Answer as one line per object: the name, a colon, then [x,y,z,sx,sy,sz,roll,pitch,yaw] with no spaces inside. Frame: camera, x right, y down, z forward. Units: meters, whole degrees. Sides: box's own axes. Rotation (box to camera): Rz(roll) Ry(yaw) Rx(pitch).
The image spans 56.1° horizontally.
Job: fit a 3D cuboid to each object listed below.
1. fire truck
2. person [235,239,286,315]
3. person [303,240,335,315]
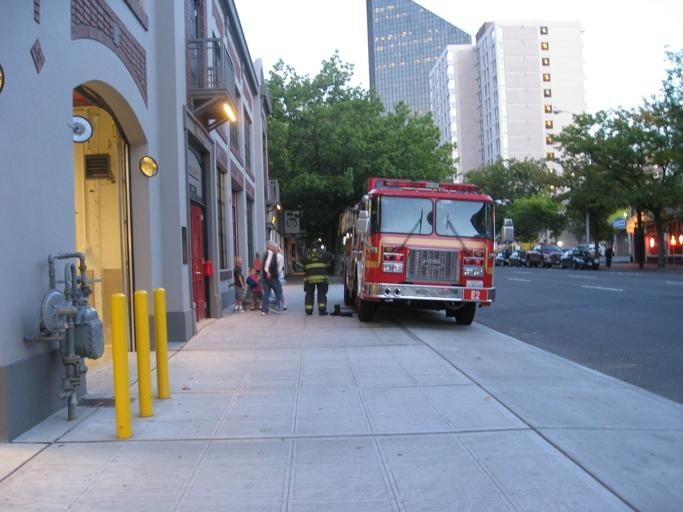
fire truck: [1.586,-0.145,18.014,2.703,3.843,8.714,4,0,-6]
person: [-1.885,0.585,17.070,0.655,2.197,0.971,0,0,39]
person: [-0.684,0.546,16.771,0.626,2.296,0.585,7,1,15]
